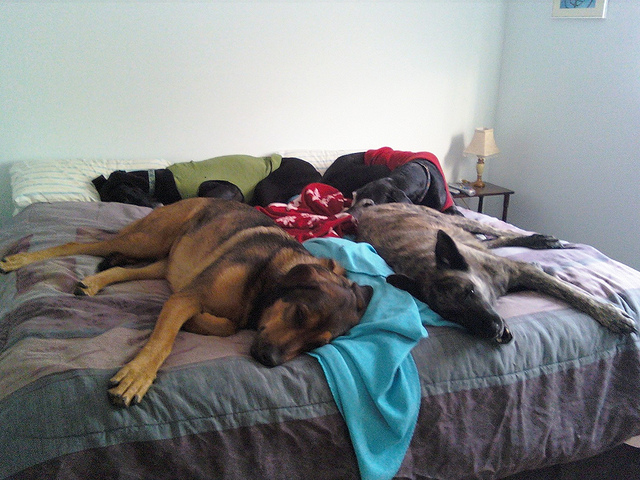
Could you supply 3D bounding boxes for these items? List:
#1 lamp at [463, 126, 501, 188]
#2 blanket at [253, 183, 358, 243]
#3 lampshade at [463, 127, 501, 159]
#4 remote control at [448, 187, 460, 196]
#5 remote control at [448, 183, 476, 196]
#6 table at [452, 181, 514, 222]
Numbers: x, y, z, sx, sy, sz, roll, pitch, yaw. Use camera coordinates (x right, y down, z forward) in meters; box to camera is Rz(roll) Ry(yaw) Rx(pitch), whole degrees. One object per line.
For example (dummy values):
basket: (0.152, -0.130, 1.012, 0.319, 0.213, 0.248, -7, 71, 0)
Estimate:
lamp: (1.575, -0.807, 4.823, 0.333, 0.534, 0.343, 4, 23, 13)
blanket: (0.036, -0.241, 3.422, 0.561, 0.182, 0.573, -11, -11, 19)
lampshade: (1.561, -0.910, 4.793, 0.322, 0.252, 0.290, -3, 23, -9)
remote control: (1.192, -0.427, 4.395, 0.088, 0.036, 0.111, 1, 22, -25)
remote control: (1.286, -0.464, 4.480, 0.142, 0.067, 0.252, 1, 22, -33)
table: (1.611, -0.319, 4.802, 0.455, 0.465, 0.465, -5, 26, -12)
